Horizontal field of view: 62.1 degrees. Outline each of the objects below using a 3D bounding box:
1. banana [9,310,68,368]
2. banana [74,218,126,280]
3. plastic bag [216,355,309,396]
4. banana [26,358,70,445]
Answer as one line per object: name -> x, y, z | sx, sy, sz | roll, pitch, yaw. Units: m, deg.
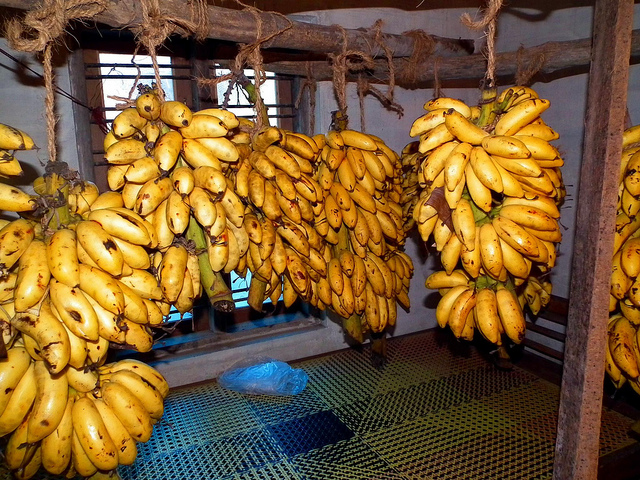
banana -> -1.216, 0.425, 2.366 | 0.233, 0.221, 0.134 | 4, 14, 24
banana -> -1.002, 0.049, 2.516 | 0.146, 0.316, 0.111 | -37, -3, -25
plastic bag -> -0.442, 1.108, 4.279 | 0.456, 0.171, 0.327 | 2, 11, 7
banana -> -1.228, 0.743, 2.408 | 0.157, 0.378, 0.211 | -5, 13, -12
